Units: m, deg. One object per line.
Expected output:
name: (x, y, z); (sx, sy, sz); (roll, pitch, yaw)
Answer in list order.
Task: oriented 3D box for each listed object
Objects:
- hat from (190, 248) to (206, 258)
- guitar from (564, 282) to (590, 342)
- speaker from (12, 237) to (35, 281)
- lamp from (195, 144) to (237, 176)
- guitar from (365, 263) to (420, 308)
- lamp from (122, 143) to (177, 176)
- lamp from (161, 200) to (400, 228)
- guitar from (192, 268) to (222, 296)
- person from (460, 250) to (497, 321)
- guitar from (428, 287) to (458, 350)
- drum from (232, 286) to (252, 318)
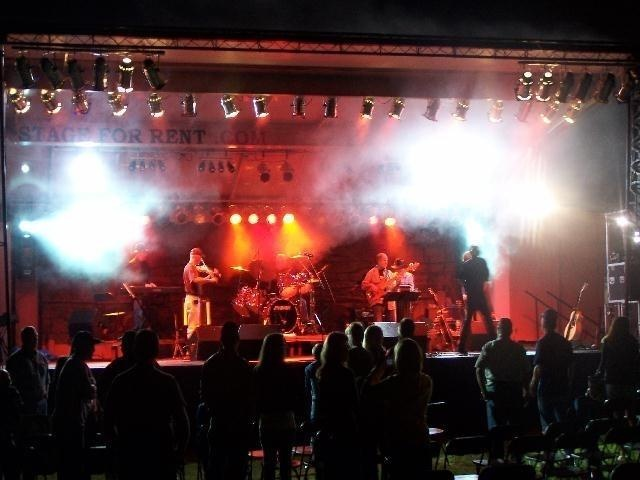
hat: (-2.630, 0.257, 15.533); (0.207, 0.242, 0.275); (2, 4, -40)
guitar: (5.751, 1.630, 16.261); (0.203, 1.532, 0.609); (22, -33, 5)
speaker: (-6.947, 0.407, 17.107); (0.645, 0.978, 0.310); (10, -18, -38)
lamp: (-2.336, -1.765, 16.755); (0.956, 0.464, 1.071); (1, -14, -10)
guitar: (1.591, 1.015, 16.225); (0.922, 0.431, 0.907); (-22, 3, -14)
lamp: (-3.890, -1.801, 16.617); (1.325, 0.431, 0.855); (3, -15, -16)
lamp: (-1.217, -0.636, 18.114); (5.563, 0.436, 0.908); (1, -14, -9)
guitar: (-2.460, 0.812, 15.724); (0.657, 0.317, 0.871); (4, -34, -14)
person: (2.959, 0.911, 13.899); (0.586, 1.661, 0.510); (-1, 20, 11)
guitar: (2.677, 1.833, 16.461); (0.683, 1.473, 0.258); (-10, -3, -37)
drum: (-1.782, 1.440, 16.853); (0.494, 0.691, 0.254); (6, 0, 7)
